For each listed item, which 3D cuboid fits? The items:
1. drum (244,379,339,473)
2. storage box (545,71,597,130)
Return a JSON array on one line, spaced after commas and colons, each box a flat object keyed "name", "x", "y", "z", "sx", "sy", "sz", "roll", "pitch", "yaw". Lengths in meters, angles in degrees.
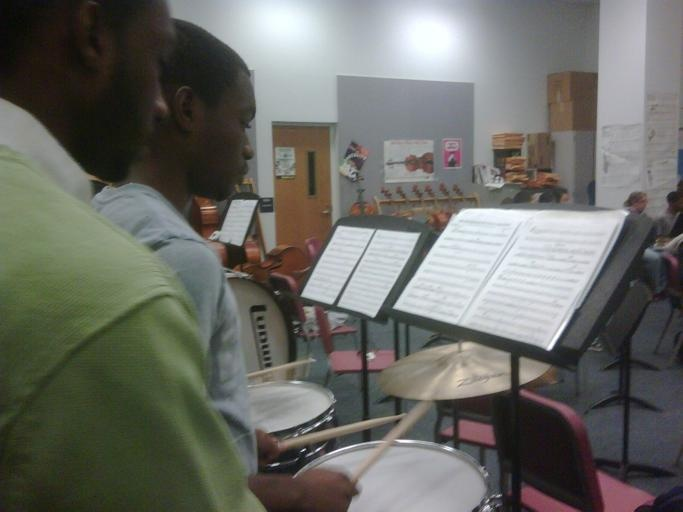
[{"name": "drum", "x": -0.139, "y": 0.491, "z": 1.698, "sx": 0.163, "sy": 0.186, "sz": 0.171, "roll": 0, "pitch": 14, "yaw": 21}, {"name": "storage box", "x": 3.380, "y": -2.246, "z": 8.512, "sx": 0.718, "sy": 0.832, "sz": 0.490, "roll": 1, "pitch": 13, "yaw": 13}]
